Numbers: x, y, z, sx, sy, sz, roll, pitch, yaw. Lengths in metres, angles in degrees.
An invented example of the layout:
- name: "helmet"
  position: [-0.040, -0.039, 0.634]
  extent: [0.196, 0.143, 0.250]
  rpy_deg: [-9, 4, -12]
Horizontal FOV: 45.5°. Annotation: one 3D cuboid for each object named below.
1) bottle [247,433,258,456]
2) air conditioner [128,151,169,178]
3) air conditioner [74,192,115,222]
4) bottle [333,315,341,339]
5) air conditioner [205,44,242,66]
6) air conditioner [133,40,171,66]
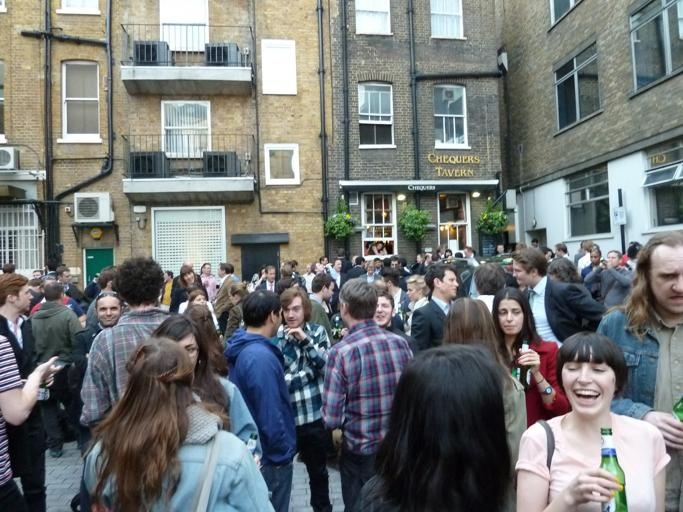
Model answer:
- name: "bottle"
  position: [-1.131, 2.399, 10.357]
  extent: [0.068, 0.245, 0.158]
  rpy_deg: [-1, 2, -44]
- name: "air conditioner"
  position: [-5.174, -2.324, 22.069]
  extent: [1.085, 0.821, 0.627]
  rpy_deg: [0, 3, -3]
- name: "air conditioner"
  position: [-6.716, -1.260, 22.289]
  extent: [1.133, 1.211, 0.681]
  rpy_deg: [-1, -3, -8]
- name: "bottle"
  position: [-0.080, 1.262, 14.015]
  extent: [0.108, 0.306, 0.213]
  rpy_deg: [7, 9, 7]
- name: "air conditioner"
  position: [-3.277, -5.542, 22.652]
  extent: [0.981, 0.641, 0.237]
  rpy_deg: [-2, 0, -11]
- name: "air conditioner"
  position: [-5.151, -5.455, 22.114]
  extent: [1.021, 0.798, 0.621]
  rpy_deg: [3, 11, 6]
